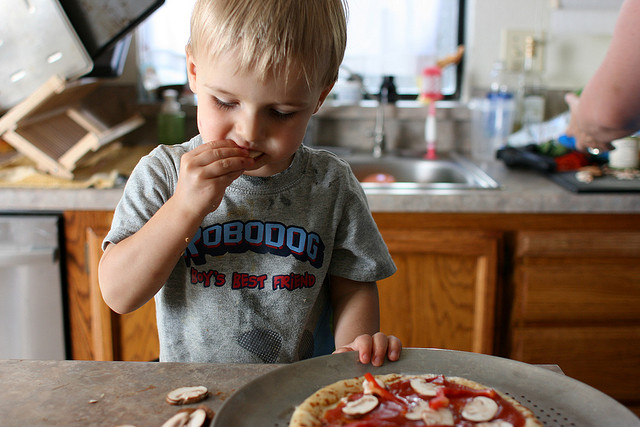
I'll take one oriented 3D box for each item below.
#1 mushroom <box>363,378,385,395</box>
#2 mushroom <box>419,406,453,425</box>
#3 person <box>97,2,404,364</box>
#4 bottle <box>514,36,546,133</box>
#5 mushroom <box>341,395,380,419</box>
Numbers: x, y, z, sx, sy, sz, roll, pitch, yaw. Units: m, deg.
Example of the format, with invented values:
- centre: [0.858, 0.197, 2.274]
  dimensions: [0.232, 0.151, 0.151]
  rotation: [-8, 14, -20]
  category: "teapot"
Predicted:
- centre: [0.094, 0.330, 1.041]
  dimensions: [0.026, 0.010, 0.024]
  rotation: [-5, 35, -2]
  category: "mushroom"
- centre: [0.211, 0.368, 0.994]
  dimensions: [0.057, 0.009, 0.032]
  rotation: [-4, 38, -1]
  category: "mushroom"
- centre: [-0.151, -0.038, 1.226]
  dimensions: [0.642, 0.761, 0.483]
  rotation: [3, 40, 7]
  category: "person"
- centre: [0.943, -0.566, 2.450]
  dimensions: [0.148, 0.346, 0.253]
  rotation: [11, 41, 16]
  category: "bottle"
- centre: [0.075, 0.358, 1.010]
  dimensions: [0.073, 0.011, 0.036]
  rotation: [-18, 41, -19]
  category: "mushroom"
